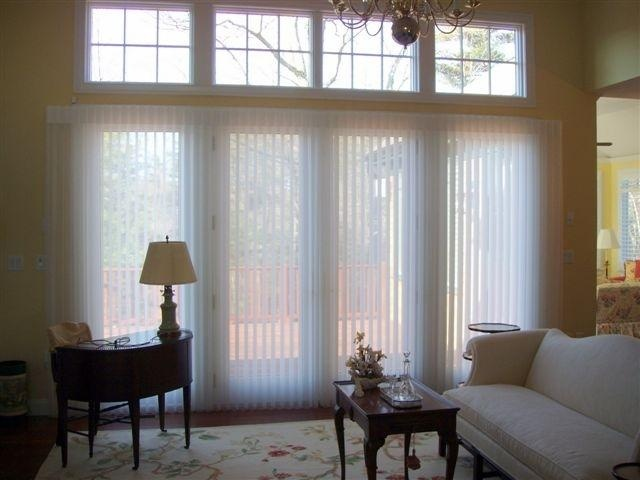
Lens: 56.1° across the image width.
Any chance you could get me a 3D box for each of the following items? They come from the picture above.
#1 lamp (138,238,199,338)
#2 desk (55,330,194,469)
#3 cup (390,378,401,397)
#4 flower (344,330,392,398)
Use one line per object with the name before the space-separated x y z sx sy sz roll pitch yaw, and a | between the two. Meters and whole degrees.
lamp | -1.389 0.403 5.445 0.471 0.839 0.631 -9 17 -31
desk | -1.683 1.422 5.474 0.772 1.065 1.306 0 -1 25
cup | 0.578 1.145 4.644 0.083 0.093 0.087 0 -1 0
flower | 0.324 1.040 5.155 0.467 0.679 0.491 2 -5 -7
